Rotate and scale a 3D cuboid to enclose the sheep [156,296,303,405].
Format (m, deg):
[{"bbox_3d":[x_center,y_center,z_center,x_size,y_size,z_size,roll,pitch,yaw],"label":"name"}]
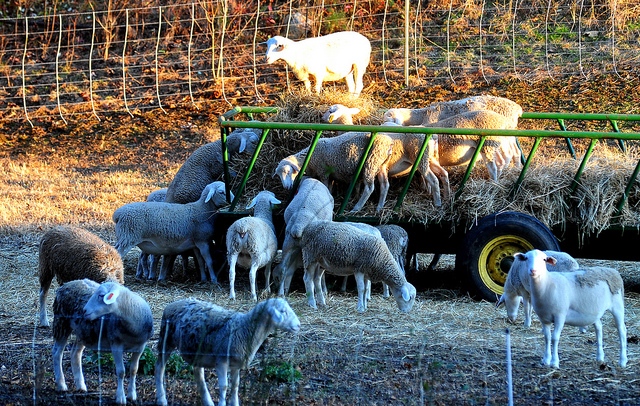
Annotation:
[{"bbox_3d":[-1.337,2.204,15.468,1.788,1.008,0.589,1,-25,14],"label":"sheep"}]

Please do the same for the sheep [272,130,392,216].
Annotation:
[{"bbox_3d":[0.265,-0.521,18.414,2.239,1.354,0.740,-1,-3,30],"label":"sheep"}]

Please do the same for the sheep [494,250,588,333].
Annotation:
[{"bbox_3d":[3.550,1.409,16.732,1.894,1.360,0.763,1,22,32],"label":"sheep"}]

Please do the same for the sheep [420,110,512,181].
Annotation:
[{"bbox_3d":[2.451,-0.955,18.593,0.788,1.222,2.401,2,-1,-45],"label":"sheep"}]

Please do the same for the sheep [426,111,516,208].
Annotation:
[{"bbox_3d":[2.389,-0.837,18.224,2.321,1.266,0.584,-11,-5,35],"label":"sheep"}]

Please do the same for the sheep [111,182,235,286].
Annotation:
[{"bbox_3d":[-2.665,0.517,18.601,2.464,1.691,0.851,-1,-5,-27],"label":"sheep"}]

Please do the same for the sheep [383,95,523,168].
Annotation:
[{"bbox_3d":[2.465,-1.347,19.242,2.581,1.230,0.626,0,27,27],"label":"sheep"}]

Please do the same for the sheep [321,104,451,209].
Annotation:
[{"bbox_3d":[1.068,-0.806,18.516,2.643,1.556,0.757,8,-4,32],"label":"sheep"}]

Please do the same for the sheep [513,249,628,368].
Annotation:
[{"bbox_3d":[3.798,1.648,16.403,2.248,1.575,1.005,6,-5,-31],"label":"sheep"}]

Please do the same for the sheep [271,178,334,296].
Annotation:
[{"bbox_3d":[-0.286,0.569,18.698,1.016,1.774,3.230,7,7,2],"label":"sheep"}]
